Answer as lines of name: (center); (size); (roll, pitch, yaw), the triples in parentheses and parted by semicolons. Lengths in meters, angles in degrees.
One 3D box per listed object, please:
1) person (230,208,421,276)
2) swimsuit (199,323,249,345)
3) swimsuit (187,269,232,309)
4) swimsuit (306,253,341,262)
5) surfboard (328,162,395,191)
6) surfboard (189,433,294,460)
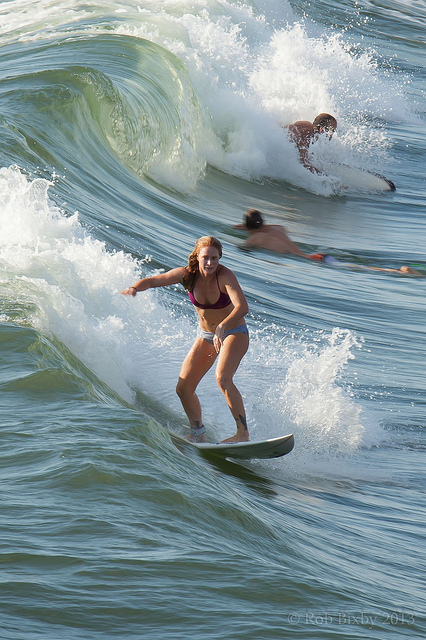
person: (1.385, -1.133, 10.108); (2.037, 0.946, 0.473); (14, 96, 1)
swimsuit: (0.090, 0.094, 5.184); (0.211, 0.157, 0.065); (5, 89, -37)
swimsuit: (-0.029, -0.178, 5.033); (0.166, 0.162, 0.138); (-5, 62, 18)
swimsuit: (1.369, -0.782, 10.131); (0.306, 0.159, 0.072); (6, 97, 8)
surfboard: (2.392, -2.599, 14.377); (0.411, 0.232, 2.180); (-27, 27, -17)
surfboard: (0.079, 0.795, 5.159); (0.849, 0.205, 0.099); (-4, 49, -1)
